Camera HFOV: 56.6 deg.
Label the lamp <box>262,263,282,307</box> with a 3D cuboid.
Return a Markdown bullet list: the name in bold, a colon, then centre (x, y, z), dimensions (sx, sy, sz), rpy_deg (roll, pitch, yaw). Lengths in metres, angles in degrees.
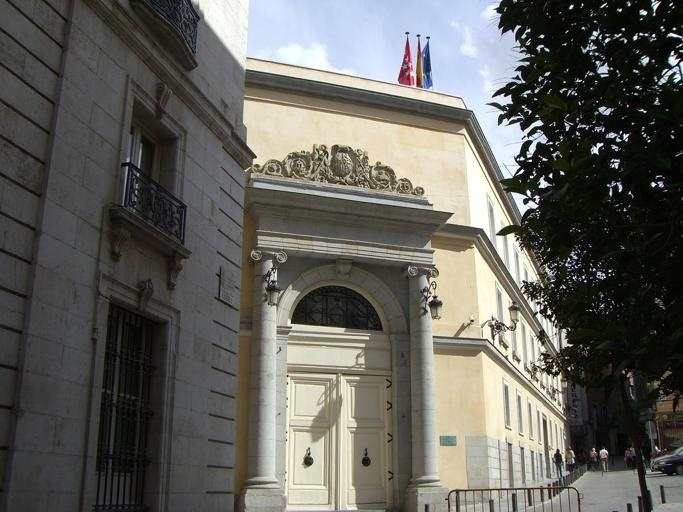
- **lamp**: centre (-2.016, 0.851, 19.321), dimensions (0.509, 1.312, 0.727), rpy_deg (-11, -25, 25)

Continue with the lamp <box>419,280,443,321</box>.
- **lamp**: centre (2.969, 1.322, 20.565), dimensions (0.674, 1.380, 0.547), rpy_deg (-17, -27, 34)

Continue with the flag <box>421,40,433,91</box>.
- **flag**: centre (3.946, -8.842, 29.439), dimensions (0.471, 0.275, 2.707), rpy_deg (8, -43, 19)

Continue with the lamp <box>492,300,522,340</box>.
- **lamp**: centre (6.365, 2.444, 24.419), dimensions (1.033, 1.550, 0.603), rpy_deg (4, 2, 24)

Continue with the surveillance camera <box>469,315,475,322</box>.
- **surveillance camera**: centre (4.637, 2.214, 22.468), dimensions (0.172, 0.201, 0.042), rpy_deg (-5, -2, -28)
